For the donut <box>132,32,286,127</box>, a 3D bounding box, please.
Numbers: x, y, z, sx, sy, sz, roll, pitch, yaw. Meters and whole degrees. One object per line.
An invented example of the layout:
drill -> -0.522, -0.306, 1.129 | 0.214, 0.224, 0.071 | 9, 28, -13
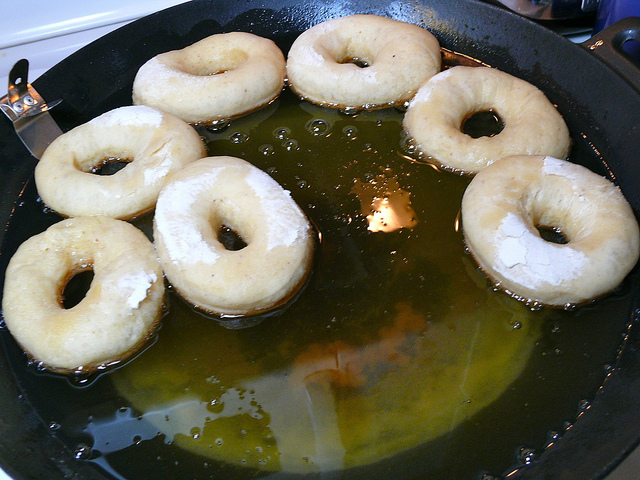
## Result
donut -> -0.321, -0.464, 2.056 | 0.444, 0.317, 0.108 | 3, 56, -20

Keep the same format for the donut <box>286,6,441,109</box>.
donut -> 0.135, -0.525, 2.036 | 0.440, 0.111, 0.313 | 3, 59, 3
